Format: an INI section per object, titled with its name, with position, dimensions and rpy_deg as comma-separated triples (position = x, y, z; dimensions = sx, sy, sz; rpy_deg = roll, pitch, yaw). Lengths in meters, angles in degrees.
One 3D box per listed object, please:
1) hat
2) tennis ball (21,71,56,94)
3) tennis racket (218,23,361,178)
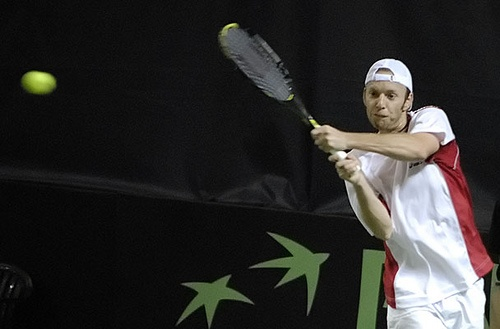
[hat]
position = 0.838, -0.551, 3.346
dimensions = 0.262, 0.174, 0.202
rpy_deg = 11, -78, 18
[tennis ball]
position = -1.573, -0.602, 4.076
dimensions = 0.254, 0.139, 0.107
rpy_deg = 4, -38, -4
[tennis racket]
position = 0.289, -0.403, 3.585
dimensions = 0.294, 0.125, 1.322
rpy_deg = -23, -53, 35
